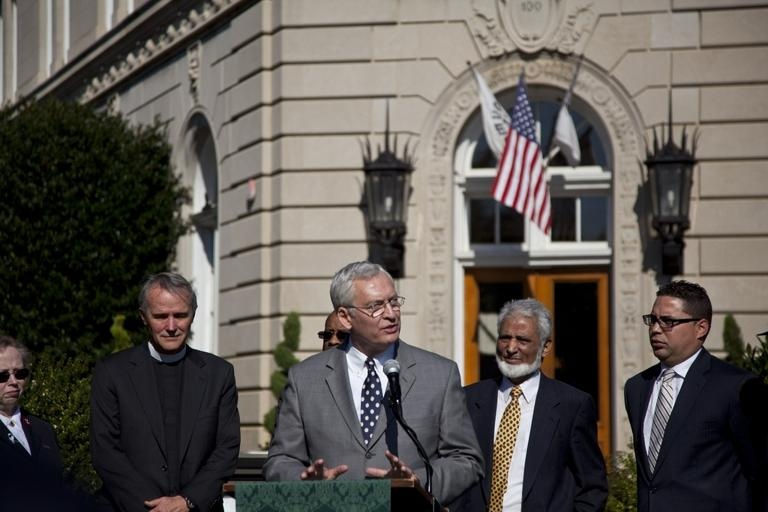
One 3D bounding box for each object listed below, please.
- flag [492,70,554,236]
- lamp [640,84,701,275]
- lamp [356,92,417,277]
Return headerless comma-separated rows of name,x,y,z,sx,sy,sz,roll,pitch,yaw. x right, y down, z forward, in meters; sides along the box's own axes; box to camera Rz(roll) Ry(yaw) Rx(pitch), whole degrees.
flag,2.129,-1.558,32.160,0.994,2.360,0.263,3,-6,-23
lamp,4.465,-1.143,32.388,0.777,3.004,0.465,0,-6,9
lamp,0.059,-1.074,32.806,0.801,2.853,0.668,1,-6,-1
